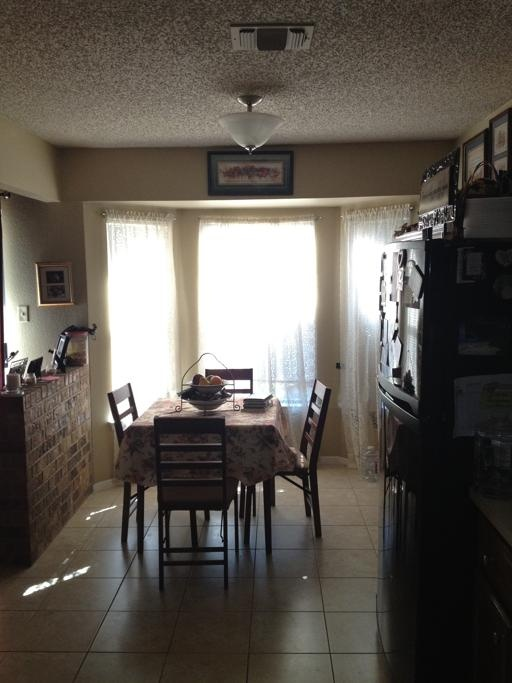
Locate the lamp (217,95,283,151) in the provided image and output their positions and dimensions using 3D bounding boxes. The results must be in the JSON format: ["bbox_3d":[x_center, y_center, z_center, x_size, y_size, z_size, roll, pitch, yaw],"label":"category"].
[{"bbox_3d":[-0.029,-1.156,2.759,0.300,0.317,0.322,6,15,19],"label":"lamp"}]

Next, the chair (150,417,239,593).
[{"bbox_3d":[-0.317,0.740,2.545,0.371,0.861,0.499,1,-19,-13],"label":"chair"}]

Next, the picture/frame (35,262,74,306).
[{"bbox_3d":[-1.454,-0.417,3.809,0.232,0.348,0.038,-3,-22,-22],"label":"picture/frame"}]
